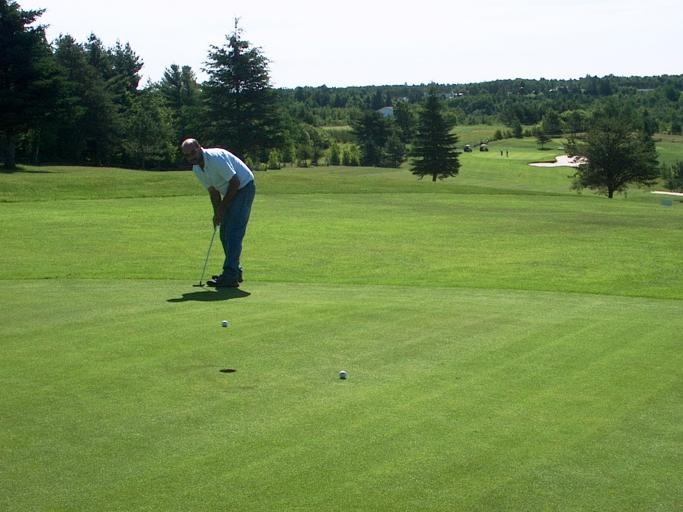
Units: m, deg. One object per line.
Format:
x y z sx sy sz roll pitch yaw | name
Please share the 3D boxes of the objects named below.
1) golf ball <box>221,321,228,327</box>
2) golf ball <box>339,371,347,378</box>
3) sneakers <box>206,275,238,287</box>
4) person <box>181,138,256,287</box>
-1.110 0.649 7.069 0.046 0.040 0.046 -1 -2 0 | golf ball
0.012 0.922 5.771 0.048 0.045 0.048 -1 5 0 | golf ball
-1.565 0.321 9.674 0.409 0.163 0.159 4 -1 1 | sneakers
-1.568 -0.527 9.700 0.912 1.946 0.802 -2 13 -14 | person
